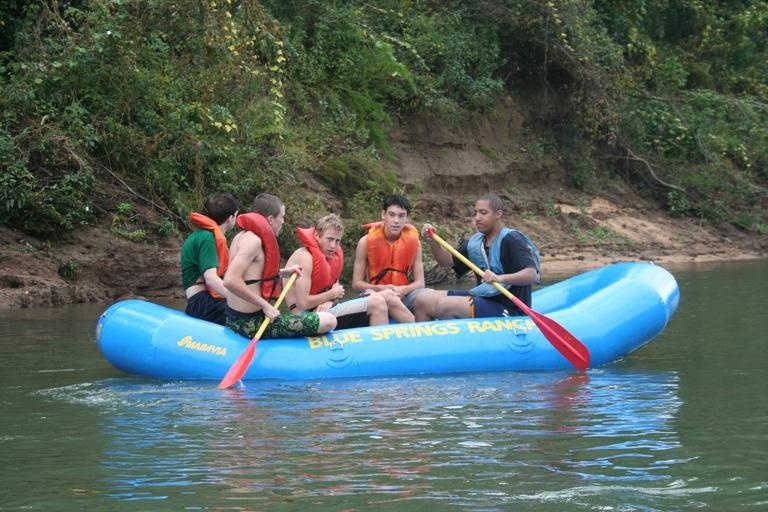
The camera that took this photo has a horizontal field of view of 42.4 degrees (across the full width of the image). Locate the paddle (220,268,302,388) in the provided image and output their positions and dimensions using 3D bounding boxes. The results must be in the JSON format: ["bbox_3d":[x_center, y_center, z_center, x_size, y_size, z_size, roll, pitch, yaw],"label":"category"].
[{"bbox_3d":[-1.574,0.971,12.448,0.200,1.698,0.118,27,-20,14],"label":"paddle"}]
